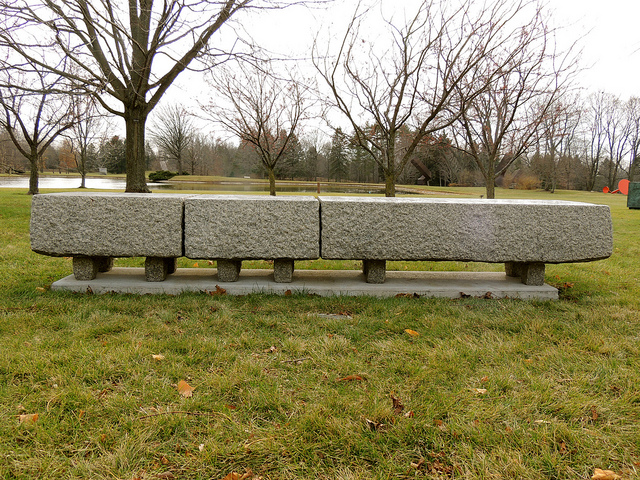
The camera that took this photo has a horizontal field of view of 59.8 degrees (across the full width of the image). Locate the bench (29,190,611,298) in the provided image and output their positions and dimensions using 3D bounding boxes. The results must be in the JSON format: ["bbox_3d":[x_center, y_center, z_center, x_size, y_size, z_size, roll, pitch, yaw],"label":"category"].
[{"bbox_3d":[-0.105,0.063,7.152,6.878,1.303,0.487,0,7,-1],"label":"bench"}]
